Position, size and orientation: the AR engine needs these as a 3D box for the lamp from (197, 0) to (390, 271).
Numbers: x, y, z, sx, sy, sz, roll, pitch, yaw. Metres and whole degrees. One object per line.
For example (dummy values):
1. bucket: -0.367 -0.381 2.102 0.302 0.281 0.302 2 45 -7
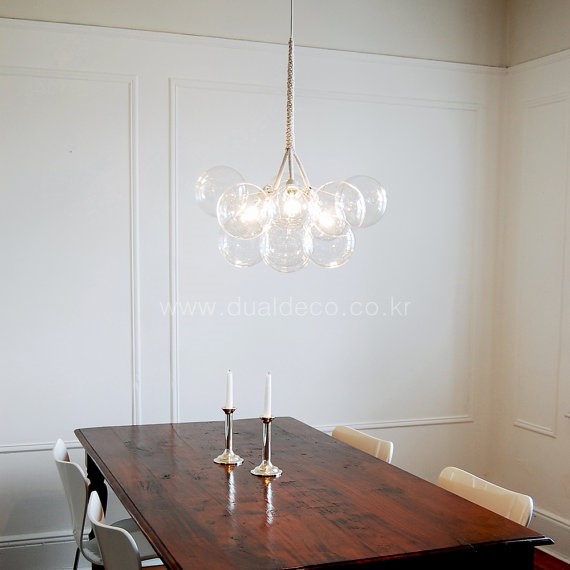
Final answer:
1. lamp: 0.028 -0.484 2.093 0.647 0.877 0.402 3 -2 -25
